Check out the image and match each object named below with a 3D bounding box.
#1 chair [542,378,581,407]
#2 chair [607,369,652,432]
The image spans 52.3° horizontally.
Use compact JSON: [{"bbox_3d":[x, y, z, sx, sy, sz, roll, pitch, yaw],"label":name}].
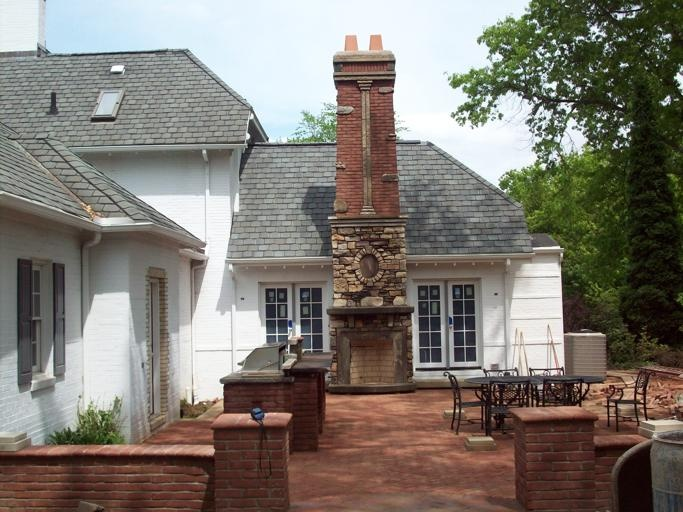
[{"bbox_3d":[4.581,2.859,14.506,0.782,0.590,1.004,-3,-6,16],"label":"chair"},{"bbox_3d":[6.101,3.059,14.890,0.994,1.222,1.015,-7,-10,43],"label":"chair"}]
